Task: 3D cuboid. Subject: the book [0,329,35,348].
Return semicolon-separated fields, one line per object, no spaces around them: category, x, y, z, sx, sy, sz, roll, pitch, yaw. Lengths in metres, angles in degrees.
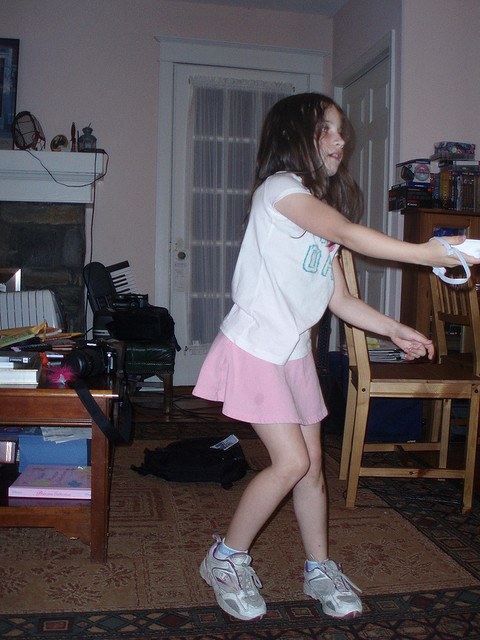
book;-0.673;0.054;1.626;0.047;0.051;0.050;-16;16;35

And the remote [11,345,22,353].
remote;-0.637;0.080;1.537;0.021;0.009;0.033;-1;21;-25

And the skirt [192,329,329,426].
skirt;0.074;0.134;1.248;0.207;0.261;0.282;3;-18;43

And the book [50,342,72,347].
book;-0.562;0.078;1.694;0.059;0.008;0.071;1;3;-24

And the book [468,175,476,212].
book;1.315;-0.721;3.051;0.036;0.153;0.157;1;8;13

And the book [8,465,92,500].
book;-0.514;0.454;1.507;0.216;0.033;0.229;1;2;-8

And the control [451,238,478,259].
control;0.346;-0.106;0.817;0.033;0.033;0.008;2;-9;-12
